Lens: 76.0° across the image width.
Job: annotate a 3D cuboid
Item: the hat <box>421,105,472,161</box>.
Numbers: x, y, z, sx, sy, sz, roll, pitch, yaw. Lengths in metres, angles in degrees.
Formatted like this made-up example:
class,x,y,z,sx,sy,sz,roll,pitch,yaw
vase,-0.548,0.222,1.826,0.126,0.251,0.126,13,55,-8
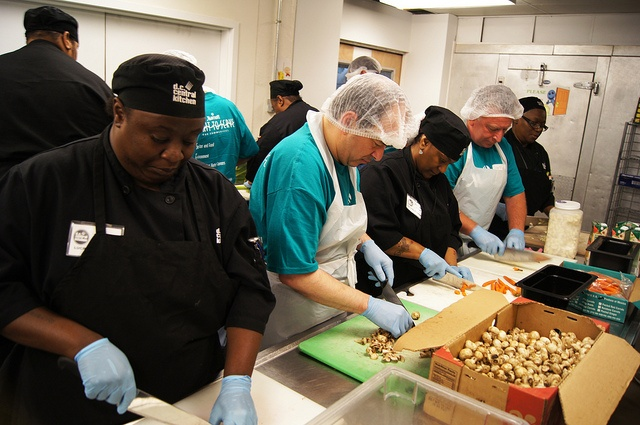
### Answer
class,x,y,z,sx,sy,sz,roll,pitch,yaw
hat,0.673,-0.449,2.349,0.237,0.183,0.317,8,37,-40

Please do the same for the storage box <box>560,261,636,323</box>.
class,x,y,z,sx,sy,sz,roll,pitch,yaw
storage box,1.406,0.424,2.077,0.275,0.097,0.293,7,25,27

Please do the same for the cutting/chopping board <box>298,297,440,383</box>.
class,x,y,z,sx,sy,sz,roll,pitch,yaw
cutting/chopping board,0.135,0.440,1.604,0.242,0.018,0.390,16,22,36

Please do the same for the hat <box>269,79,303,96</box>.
class,x,y,z,sx,sy,sz,roll,pitch,yaw
hat,-0.337,-1.224,3.992,0.231,0.128,0.177,6,16,34

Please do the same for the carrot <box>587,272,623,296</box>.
class,x,y,z,sx,sy,sz,roll,pitch,yaw
carrot,1.481,0.377,2.103,0.111,0.046,0.174,-2,18,9

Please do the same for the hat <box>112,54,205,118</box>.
class,x,y,z,sx,sy,sz,roll,pitch,yaw
hat,-0.483,-0.387,1.232,0.264,0.186,0.150,-5,17,-26

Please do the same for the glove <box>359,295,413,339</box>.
class,x,y,z,sx,sy,sz,roll,pitch,yaw
glove,0.284,0.458,1.799,0.216,0.086,0.129,37,61,9

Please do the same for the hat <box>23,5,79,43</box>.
class,x,y,z,sx,sy,sz,roll,pitch,yaw
hat,-1.479,-1.025,2.246,0.211,0.135,0.183,7,17,22

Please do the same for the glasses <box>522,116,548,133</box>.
class,x,y,z,sx,sy,sz,roll,pitch,yaw
glasses,1.788,-0.731,3.410,0.149,0.045,0.157,-2,46,-39

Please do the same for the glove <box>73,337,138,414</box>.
class,x,y,z,sx,sy,sz,roll,pitch,yaw
glove,-0.639,0.473,1.206,0.065,0.223,0.158,-25,7,47

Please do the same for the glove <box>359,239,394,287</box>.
class,x,y,z,sx,sy,sz,roll,pitch,yaw
glove,0.307,0.279,2.199,0.135,0.106,0.255,-14,63,-11
